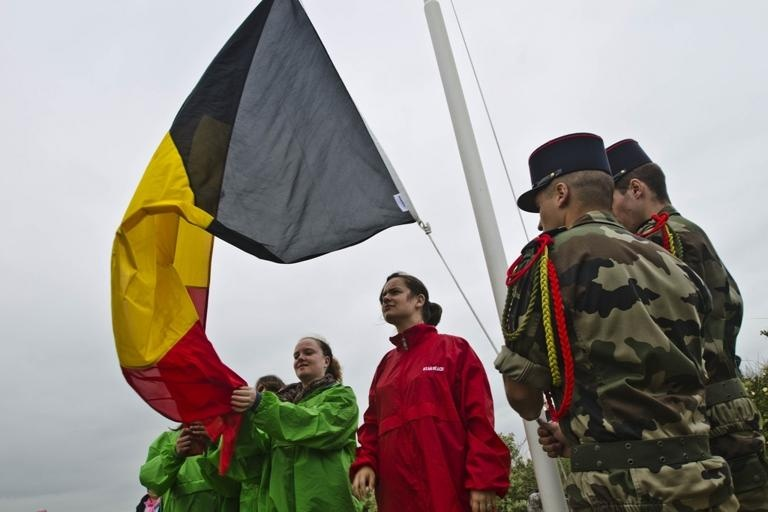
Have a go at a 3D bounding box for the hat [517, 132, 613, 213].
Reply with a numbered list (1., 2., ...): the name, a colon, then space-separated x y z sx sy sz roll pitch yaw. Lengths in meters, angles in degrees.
1. hat: 1.138 -0.576 4.942 0.546 0.288 0.412 -17 -5 10

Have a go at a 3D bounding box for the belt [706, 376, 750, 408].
1. belt: 2.257 0.897 5.012 0.190 0.130 0.259 -2 -23 -17
